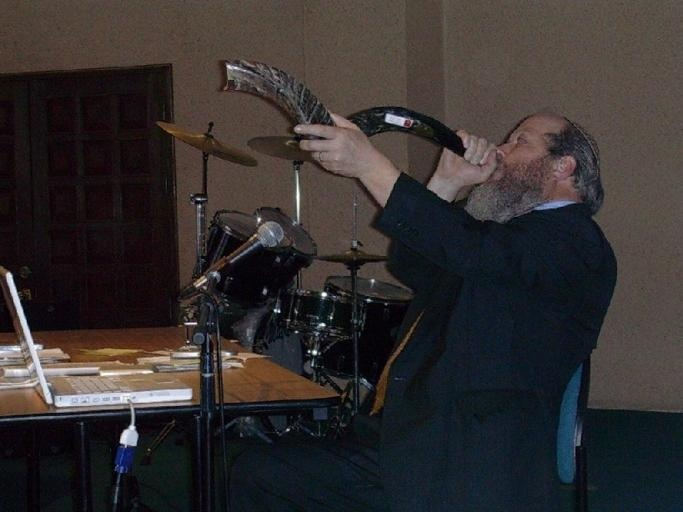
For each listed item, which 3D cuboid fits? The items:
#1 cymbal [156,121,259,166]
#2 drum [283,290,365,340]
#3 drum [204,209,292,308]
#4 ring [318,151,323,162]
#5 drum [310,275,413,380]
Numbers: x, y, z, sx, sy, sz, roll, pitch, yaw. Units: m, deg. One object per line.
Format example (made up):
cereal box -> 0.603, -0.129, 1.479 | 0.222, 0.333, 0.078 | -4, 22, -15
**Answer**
cymbal -> -0.817, -0.699, 5.242 | 0.431, 0.127, 0.442 | 31, 7, 42
drum -> -0.141, 0.368, 5.159 | 0.548, 0.241, 0.575 | 9, -11, 2
drum -> -0.415, 0.002, 5.011 | 0.732, 0.511, 0.720 | 6, 7, -1
ring -> -0.066, -0.318, 2.608 | 0.020, 0.025, 0.007 | 7, 9, 37
drum -> 0.162, 0.444, 5.195 | 0.609, 0.566, 0.602 | 19, 23, 19
